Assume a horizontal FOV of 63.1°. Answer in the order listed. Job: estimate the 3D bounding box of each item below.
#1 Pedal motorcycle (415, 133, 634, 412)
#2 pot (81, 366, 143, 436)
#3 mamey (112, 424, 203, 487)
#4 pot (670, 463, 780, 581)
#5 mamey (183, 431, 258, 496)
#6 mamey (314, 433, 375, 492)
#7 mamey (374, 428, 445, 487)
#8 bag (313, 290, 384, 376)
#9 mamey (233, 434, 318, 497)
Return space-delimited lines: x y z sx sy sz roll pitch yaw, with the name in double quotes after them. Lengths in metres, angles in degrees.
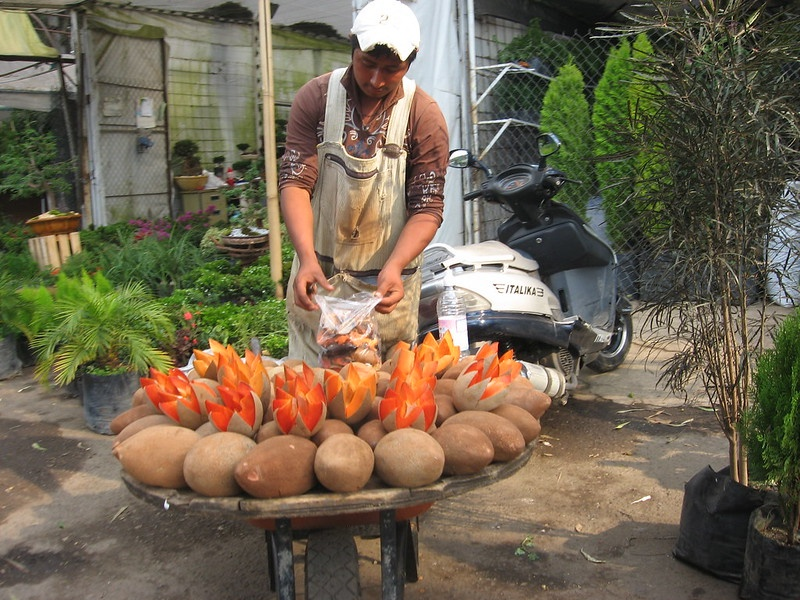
0.960 -0.206 4.990 1.052 1.961 2.715 -10 4 41 "Pedal motorcycle"
-2.236 0.867 5.091 0.484 0.528 0.484 3 -13 1 "pot"
-0.836 0.526 2.303 0.265 0.162 0.177 4 25 9 "mamey"
1.500 1.087 3.224 0.486 0.476 0.416 14 -5 -36 "pot"
-0.621 0.560 2.278 0.233 0.177 0.177 6 1 8 "mamey"
-0.178 0.540 2.204 0.197 0.152 0.155 6 4 2 "mamey"
0.037 0.563 2.272 0.224 0.165 0.179 7 -30 15 "mamey"
-0.252 0.155 3.009 0.326 0.413 0.238 -1 32 -4 "bag"
-0.419 0.565 2.228 0.250 0.148 0.162 -3 -3 -33 "mamey"
